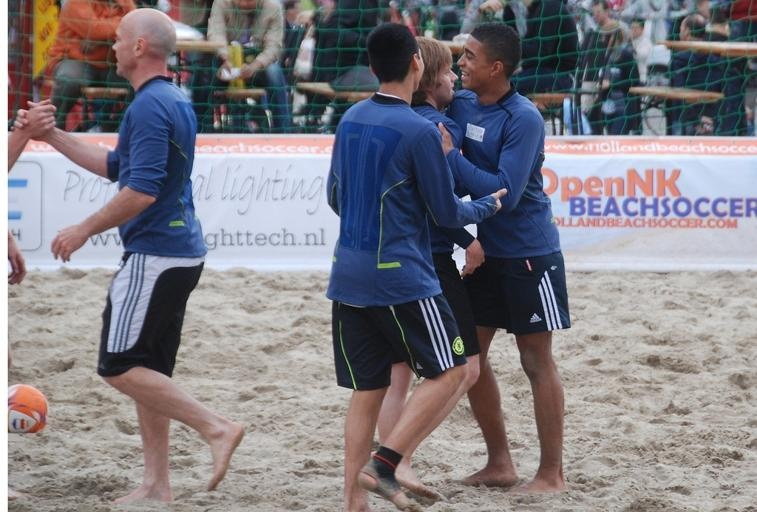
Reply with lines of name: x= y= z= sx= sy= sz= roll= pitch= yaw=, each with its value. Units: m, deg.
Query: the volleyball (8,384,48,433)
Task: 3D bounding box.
volleyball: x=-2.371 y=1.041 z=8.697 sx=0.326 sy=0.292 sz=0.489 roll=-2 pitch=9 yaw=-14

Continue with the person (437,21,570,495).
person: x=0.799 y=0.047 z=9.057 sx=1.139 sy=3.314 sz=1.099 roll=1 pitch=3 yaw=26
